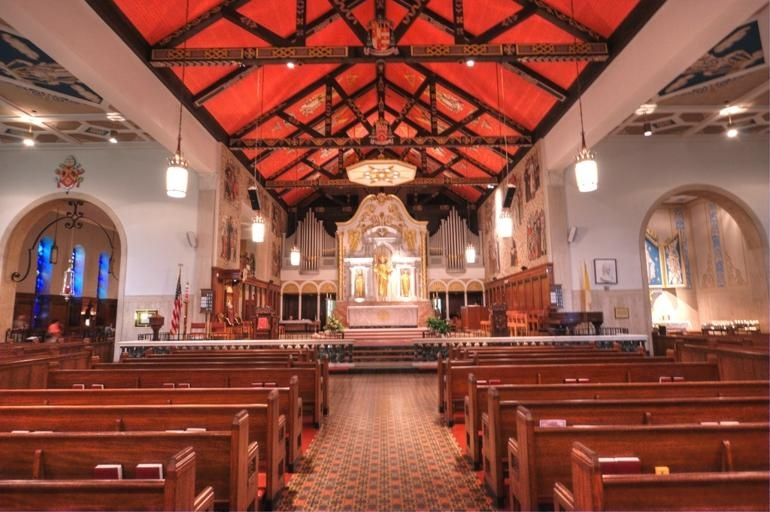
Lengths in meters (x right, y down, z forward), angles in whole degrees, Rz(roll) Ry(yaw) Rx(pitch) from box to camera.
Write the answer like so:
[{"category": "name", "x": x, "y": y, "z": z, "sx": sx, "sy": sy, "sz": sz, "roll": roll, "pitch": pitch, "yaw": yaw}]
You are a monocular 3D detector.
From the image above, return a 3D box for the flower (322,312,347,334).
[{"category": "flower", "x": -1.817, "y": 2.324, "z": 19.035, "sx": 0.877, "sy": 1.023, "sz": 0.924, "roll": -4, "pitch": -8, "yaw": 10}]

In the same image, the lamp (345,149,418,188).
[{"category": "lamp", "x": -0.120, "y": -3.043, "z": 18.543, "sx": 2.346, "sy": 0.932, "sz": 2.390, "roll": -1, "pitch": -9, "yaw": 1}]

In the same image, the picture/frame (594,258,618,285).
[{"category": "picture/frame", "x": 7.137, "y": 0.518, "z": 18.215, "sx": 0.772, "sy": 0.990, "sz": 0.068, "roll": 2, "pitch": -12, "yaw": 2}]
